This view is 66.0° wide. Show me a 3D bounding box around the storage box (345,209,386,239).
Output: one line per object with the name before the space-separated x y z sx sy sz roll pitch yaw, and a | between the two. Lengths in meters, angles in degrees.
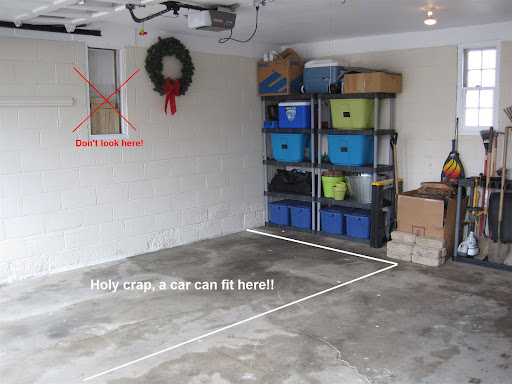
storage box | 1.621 0.540 6.241 0.181 0.393 0.395 -9 12 -41

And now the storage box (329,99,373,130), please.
storage box | 1.520 -1.202 6.256 0.494 0.387 0.688 4 5 36

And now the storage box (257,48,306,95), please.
storage box | 0.409 -2.045 6.811 1.110 0.702 0.602 2 4 41

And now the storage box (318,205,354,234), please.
storage box | 1.308 0.473 6.658 0.528 0.383 0.434 5 8 37

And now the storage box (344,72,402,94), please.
storage box | 1.789 -1.647 5.976 0.878 0.322 0.416 0 9 4

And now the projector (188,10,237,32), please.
projector | -0.472 -1.919 4.450 0.397 0.118 0.288 -7 12 -44

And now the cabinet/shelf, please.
cabinet/shelf | 1.242 -0.352 6.429 2.818 2.219 0.886 6 14 36
